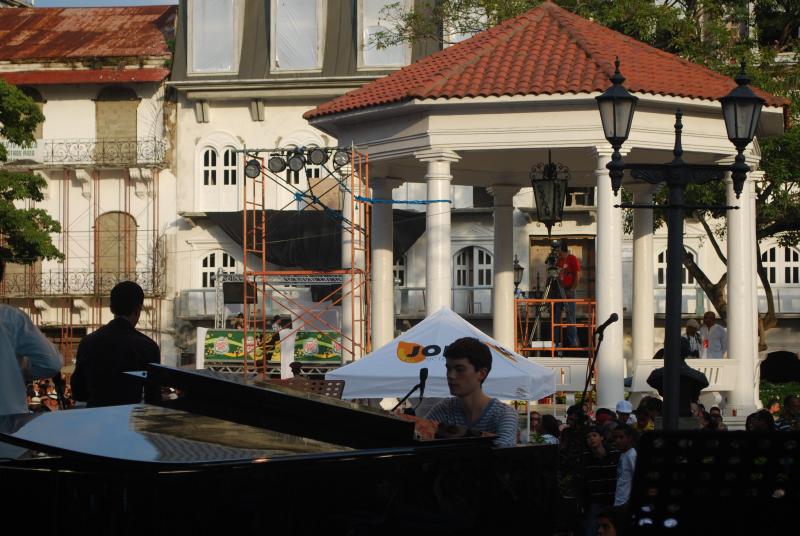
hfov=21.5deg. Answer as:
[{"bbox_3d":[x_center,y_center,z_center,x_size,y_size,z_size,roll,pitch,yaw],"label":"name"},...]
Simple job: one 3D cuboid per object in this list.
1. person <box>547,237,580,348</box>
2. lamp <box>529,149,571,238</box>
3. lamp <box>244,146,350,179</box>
[{"bbox_3d":[4.569,0.681,59.670,0.657,3.241,0.835,-2,0,40],"label":"person"},{"bbox_3d":[4.020,-1.948,57.599,1.029,2.252,3.076,1,-4,3],"label":"lamp"},{"bbox_3d":[-3.126,-2.928,59.192,2.632,1.090,5.111,1,-4,-11],"label":"lamp"}]
